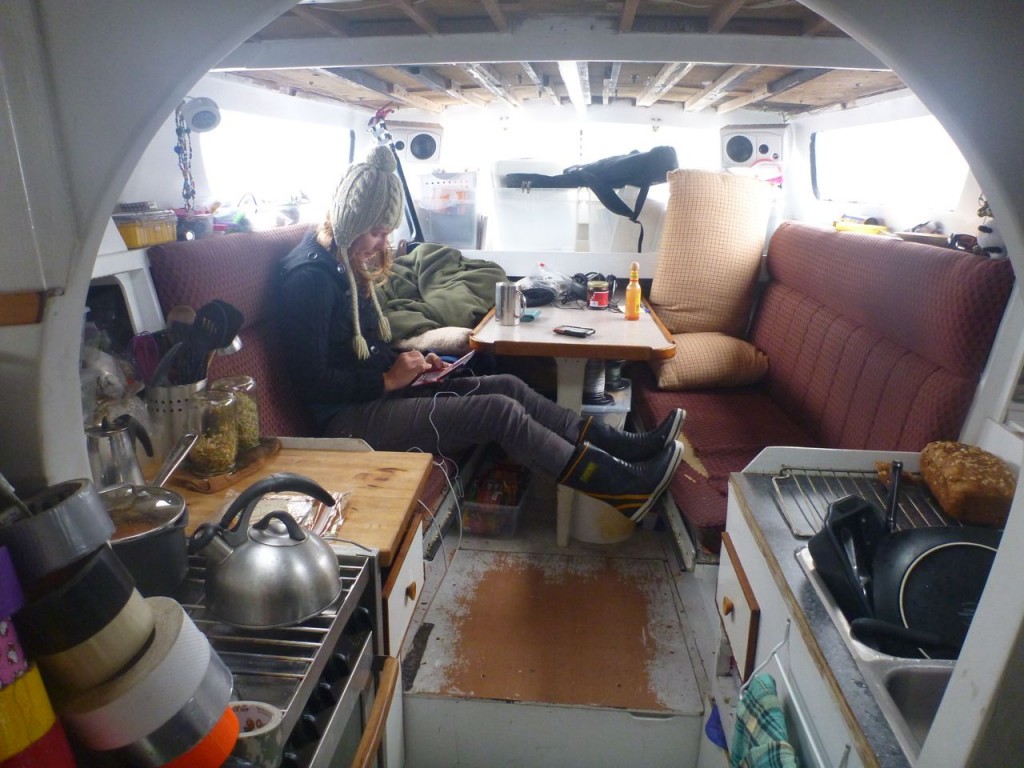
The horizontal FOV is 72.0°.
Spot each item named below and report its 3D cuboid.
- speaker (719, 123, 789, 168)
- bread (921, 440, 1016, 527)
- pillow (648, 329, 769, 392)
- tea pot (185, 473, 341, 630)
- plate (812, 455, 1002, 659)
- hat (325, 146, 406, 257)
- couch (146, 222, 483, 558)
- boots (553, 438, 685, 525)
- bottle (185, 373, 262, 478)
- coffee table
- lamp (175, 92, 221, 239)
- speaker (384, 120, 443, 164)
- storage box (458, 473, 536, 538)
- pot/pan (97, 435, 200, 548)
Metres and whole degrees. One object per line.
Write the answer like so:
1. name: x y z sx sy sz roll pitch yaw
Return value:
1. speaker: 1.407 -1.393 4.137 0.361 0.244 0.094 6 18 15
2. bread: 0.966 0.217 1.498 0.108 0.075 0.147 6 25 15
3. pillow: 0.885 -0.096 3.112 0.329 0.119 0.349 1 26 6
4. tea pot: -0.416 0.260 1.249 0.261 0.239 0.206 0 13 -18
5. plate: 0.679 0.290 1.214 0.222 0.125 0.307 -5 35 9
6. hat: -0.481 -0.616 2.377 0.241 0.356 0.262 0 -1 -7
7. couch: -0.536 -0.013 2.421 0.756 0.939 1.048 2 24 4
8. boots: 0.379 0.265 2.362 0.286 0.416 0.174 34 45 1
9. bottle: -0.685 0.092 1.658 0.117 0.177 0.215 2 18 5
10. coffee table: 0.280 0.251 3.054 0.675 0.978 1.368 4 20 8
11. lamp: -1.090 -0.761 2.454 0.157 0.441 0.613 -6 19 -21
12. speaker: -0.628 -1.558 4.497 0.417 0.304 0.244 4 27 2
13. storage box: -0.065 0.451 2.688 0.168 0.101 0.251 2 21 6
14. pot/pan: -0.605 0.205 1.225 0.120 0.030 0.211 12 33 9
